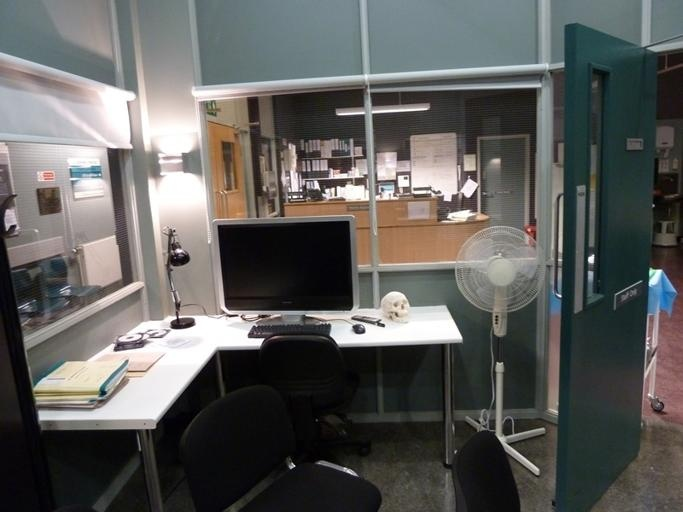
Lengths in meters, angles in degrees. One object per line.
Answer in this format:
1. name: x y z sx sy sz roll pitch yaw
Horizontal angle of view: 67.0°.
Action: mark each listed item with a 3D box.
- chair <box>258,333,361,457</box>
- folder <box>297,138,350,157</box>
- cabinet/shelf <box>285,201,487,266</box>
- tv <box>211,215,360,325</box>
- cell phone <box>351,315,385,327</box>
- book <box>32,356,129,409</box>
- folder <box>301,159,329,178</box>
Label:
1. chair: -0.210 0.899 3.344 0.581 0.983 0.633 1 10 16
2. folder: -0.107 -0.762 3.633 0.388 0.130 0.017 -4 10 -1
3. cabinet/shelf: 0.336 -0.244 3.867 1.190 0.468 0.354 -3 18 0
4. tv: -0.358 0.088 3.472 0.707 0.542 0.051 -1 11 8
5. cell phone: 0.186 0.444 3.547 0.151 0.027 0.086 8 5 23
6. book: -1.403 0.688 2.832 0.384 0.158 0.366 -4 10 1
7. folder: -0.185 -0.622 3.648 0.190 0.135 0.041 -6 10 -10
